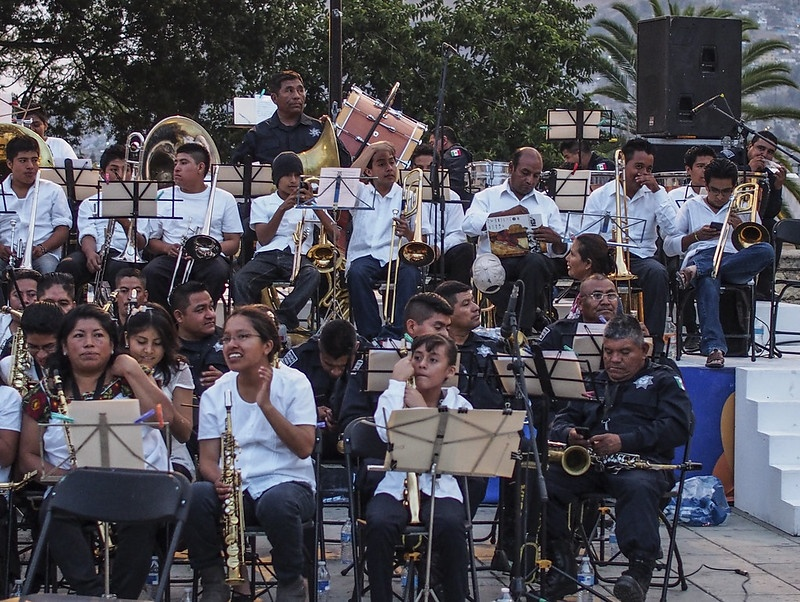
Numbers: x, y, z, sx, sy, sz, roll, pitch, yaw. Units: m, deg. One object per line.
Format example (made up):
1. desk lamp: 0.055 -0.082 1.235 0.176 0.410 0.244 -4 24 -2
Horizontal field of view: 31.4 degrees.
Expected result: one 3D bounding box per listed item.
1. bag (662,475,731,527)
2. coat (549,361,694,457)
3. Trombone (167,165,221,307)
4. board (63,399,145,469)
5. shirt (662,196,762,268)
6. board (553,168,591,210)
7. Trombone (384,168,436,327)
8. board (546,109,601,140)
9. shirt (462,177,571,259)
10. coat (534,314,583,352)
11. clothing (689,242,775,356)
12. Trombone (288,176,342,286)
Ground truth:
1. bag: 2.440 1.638 11.670 0.400 0.362 0.509 0 1 44
2. coat: 1.659 0.791 10.459 0.851 0.582 0.772 2 -12 -42
3. Trombone: -1.744 -0.430 12.235 0.412 0.464 1.293 6 40 -1
4. board: -1.903 0.866 9.268 0.475 0.458 0.046 -2 5 -1
5. shirt: 2.768 -0.613 12.482 0.509 0.557 0.345 10 -35 17
6. board: 1.601 -1.070 13.493 0.448 0.416 0.342 2 9 1
7. Trombone: 0.116 -0.512 12.323 0.433 1.366 0.533 4 -19 0
8. board: 2.005 -2.025 16.331 0.473 0.310 0.091 3 5 11
9. shirt: 1.013 -0.833 12.566 0.715 0.616 0.755 3 -18 1
10. coat: 1.275 0.250 11.157 0.262 0.252 0.119 -1 12 -14
11. clothing: 2.911 -0.010 12.334 0.519 0.986 0.680 -3 -16 24
12. Trombone: -0.683 -0.580 12.313 0.413 0.916 0.517 0 -17 -6
